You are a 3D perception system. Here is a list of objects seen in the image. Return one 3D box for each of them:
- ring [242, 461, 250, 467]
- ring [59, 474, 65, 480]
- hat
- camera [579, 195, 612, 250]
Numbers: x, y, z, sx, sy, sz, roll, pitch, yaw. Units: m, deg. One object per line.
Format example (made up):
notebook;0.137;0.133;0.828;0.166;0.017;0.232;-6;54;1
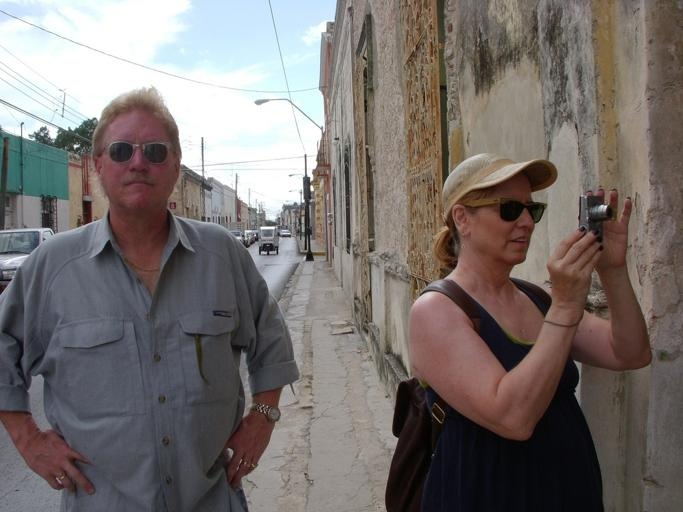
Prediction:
ring;-0.400;0.867;2.859;0.025;0.009;0.018;41;-8;-19
ring;-1.080;0.857;2.654;0.013;0.024;0.005;0;3;-25
hat;0.576;-0.293;2.583;0.340;0.185;0.252;-27;-5;29
camera;0.874;-0.127;2.370;0.082;0.172;0.074;4;11;44
